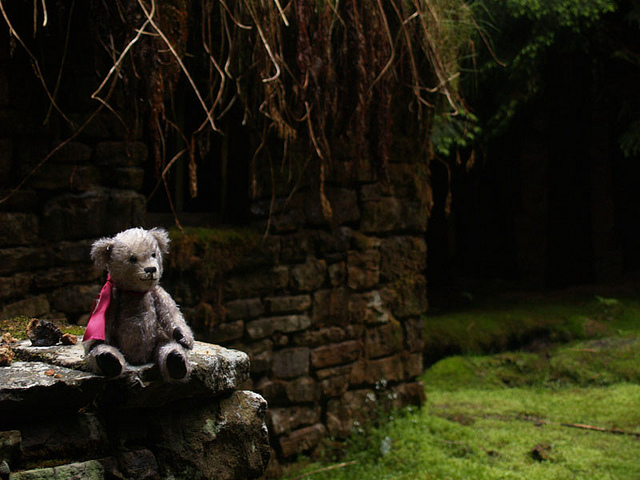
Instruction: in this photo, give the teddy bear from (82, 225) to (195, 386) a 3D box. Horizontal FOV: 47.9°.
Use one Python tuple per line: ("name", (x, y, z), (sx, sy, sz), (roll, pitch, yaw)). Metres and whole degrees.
("teddy bear", (-1.273, 0.450, 4.989), (0.612, 1.100, 0.598), (-1, -1, -19))
